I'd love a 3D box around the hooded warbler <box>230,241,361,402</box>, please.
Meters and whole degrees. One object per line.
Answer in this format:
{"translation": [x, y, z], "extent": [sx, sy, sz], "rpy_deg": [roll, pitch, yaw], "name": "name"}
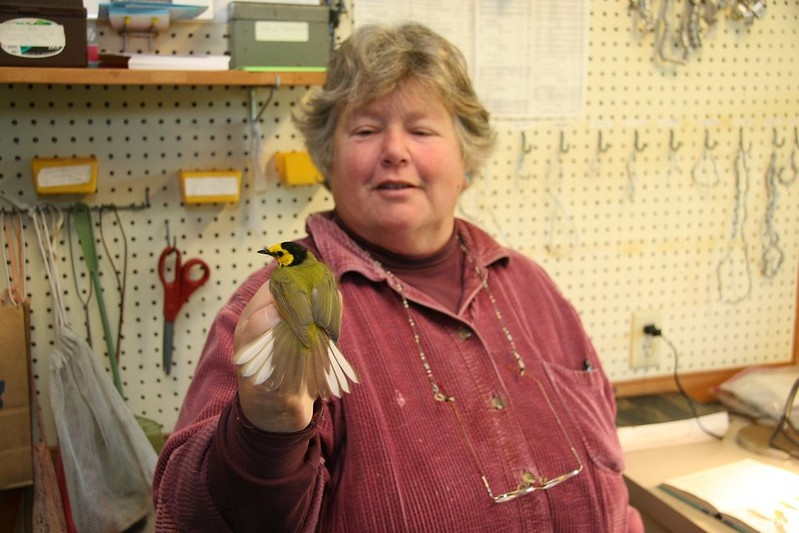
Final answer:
{"translation": [-0.209, 0.103, 1.546], "extent": [0.245, 0.125, 0.346], "rpy_deg": [6, 44, -23], "name": "hooded warbler"}
